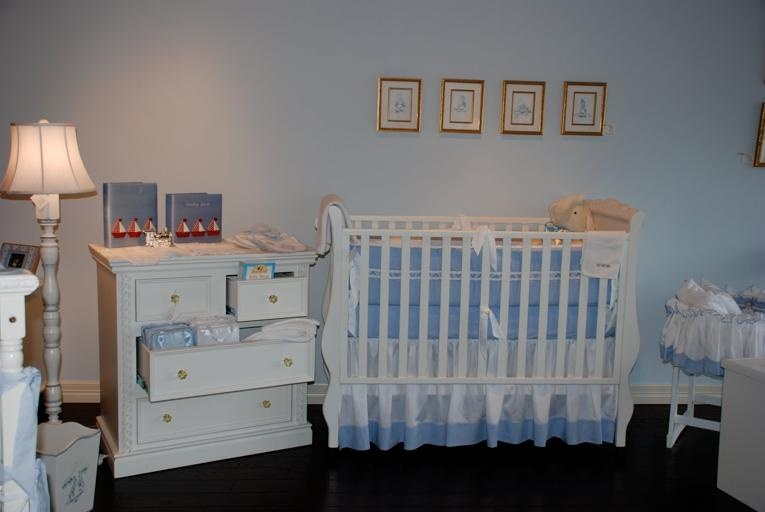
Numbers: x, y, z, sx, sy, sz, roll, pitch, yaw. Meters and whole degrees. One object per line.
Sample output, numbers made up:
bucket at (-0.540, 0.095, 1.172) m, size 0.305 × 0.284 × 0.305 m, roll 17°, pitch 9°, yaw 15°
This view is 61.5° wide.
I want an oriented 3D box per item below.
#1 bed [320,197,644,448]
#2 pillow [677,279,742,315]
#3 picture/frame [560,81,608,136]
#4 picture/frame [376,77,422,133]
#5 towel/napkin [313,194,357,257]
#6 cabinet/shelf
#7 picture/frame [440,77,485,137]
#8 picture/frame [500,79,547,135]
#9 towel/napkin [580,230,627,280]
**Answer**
bed at (0.559, 0.348, 4.236) m, size 1.958 × 1.472 × 1.227 m, roll 0°, pitch 9°, yaw -8°
pillow at (1.943, 0.251, 3.815) m, size 0.270 × 0.084 × 0.231 m, roll 12°, pitch 9°, yaw -41°
picture/frame at (1.356, -1.020, 4.349) m, size 0.318 × 0.393 × 0.030 m, roll 2°, pitch 6°, yaw -5°
picture/frame at (0.102, -1.023, 4.256) m, size 0.340 × 0.393 × 0.039 m, roll -1°, pitch 8°, yaw -3°
towel/napkin at (-0.272, -0.166, 3.817) m, size 0.149 × 0.275 × 0.263 m, roll 9°, pitch -1°, yaw 23°
cabinet/shelf at (-1.016, 0.566, 3.908) m, size 1.241 × 1.215 × 0.943 m, roll -3°, pitch 12°, yaw -35°
picture/frame at (0.528, -1.021, 4.298) m, size 0.357 × 0.414 × 0.042 m, roll 2°, pitch 6°, yaw -10°
picture/frame at (0.936, -1.024, 4.328) m, size 0.340 × 0.407 × 0.043 m, roll 0°, pitch 10°, yaw -3°
towel/napkin at (1.272, -0.012, 3.723) m, size 0.246 × 0.262 × 0.085 m, roll 3°, pitch 8°, yaw 8°
